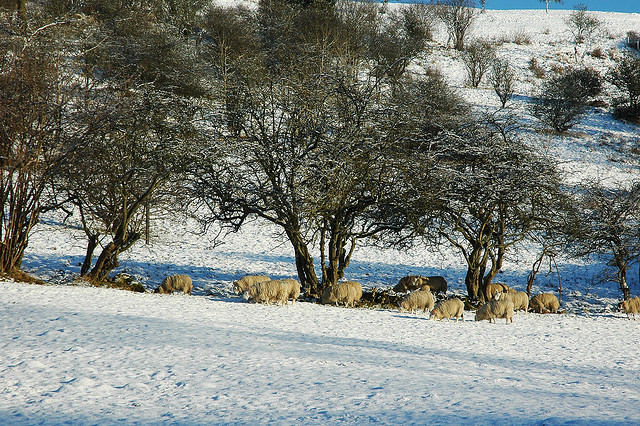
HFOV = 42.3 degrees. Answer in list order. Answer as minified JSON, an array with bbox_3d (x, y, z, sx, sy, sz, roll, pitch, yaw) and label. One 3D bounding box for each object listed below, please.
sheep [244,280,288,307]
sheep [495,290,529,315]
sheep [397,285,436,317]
[{"bbox_3d":[-2.867,4.271,43.922,2.674,1.298,0.752,-1,2,-34],"label":"sheep"},{"bbox_3d":[10.556,4.976,45.955,2.609,1.355,0.783,6,-4,-32],"label":"sheep"},{"bbox_3d":[5.291,4.995,44.990,2.879,1.505,0.798,-12,21,-33],"label":"sheep"}]
